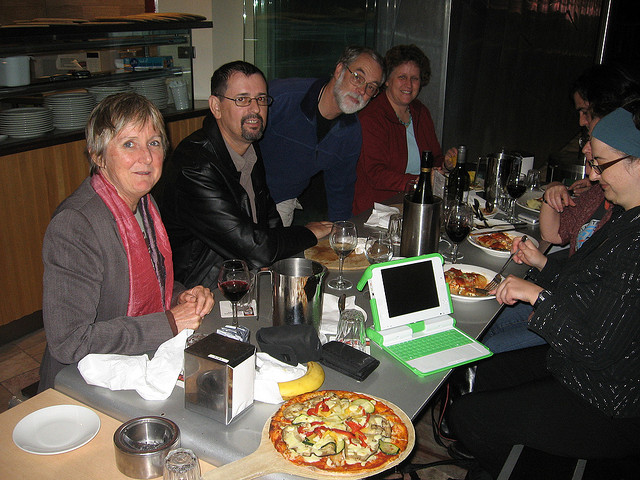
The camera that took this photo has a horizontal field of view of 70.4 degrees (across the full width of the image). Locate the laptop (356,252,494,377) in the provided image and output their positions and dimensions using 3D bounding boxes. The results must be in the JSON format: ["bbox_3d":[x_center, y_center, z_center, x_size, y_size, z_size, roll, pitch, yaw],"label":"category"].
[{"bbox_3d":[0.357,0.225,1.513,0.381,0.285,0.316,-7,17,-23],"label":"laptop"}]

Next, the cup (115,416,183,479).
[{"bbox_3d":[-0.429,0.502,1.118,0.139,0.064,0.139,6,15,-2],"label":"cup"}]

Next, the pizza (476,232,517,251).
[{"bbox_3d":[0.896,0.004,2.273,0.111,0.030,0.112,-8,21,-35],"label":"pizza"}]

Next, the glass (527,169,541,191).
[{"bbox_3d":[1.442,-0.397,3.053,0.092,0.133,0.319,7,17,24],"label":"glass"}]

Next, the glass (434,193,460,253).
[{"bbox_3d":[0.678,-0.111,2.401,0.133,0.392,0.184,6,23,11],"label":"glass"}]

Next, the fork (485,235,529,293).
[{"bbox_3d":[0.822,0.113,1.993,0.306,0.039,0.036,-45,41,-19],"label":"fork"}]

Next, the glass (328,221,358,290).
[{"bbox_3d":[0.087,0.071,1.910,0.108,0.252,0.104,-4,8,-42],"label":"glass"}]

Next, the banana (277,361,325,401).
[{"bbox_3d":[-0.048,0.410,1.305,0.070,0.053,0.155,14,21,41],"label":"banana"}]

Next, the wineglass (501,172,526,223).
[{"bbox_3d":[1.156,-0.252,2.681,0.133,0.296,0.122,2,10,-16],"label":"wineglass"}]

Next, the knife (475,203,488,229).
[{"bbox_3d":[0.920,-0.129,2.580,0.046,0.007,0.148,-29,48,23],"label":"knife"}]

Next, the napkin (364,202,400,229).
[{"bbox_3d":[0.339,-0.128,2.491,0.154,0.055,0.154,8,20,-13],"label":"napkin"}]

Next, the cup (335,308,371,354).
[{"bbox_3d":[0.106,0.295,1.508,0.125,0.137,0.124,4,3,0],"label":"cup"}]

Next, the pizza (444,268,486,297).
[{"bbox_3d":[0.595,0.177,1.864,0.147,0.050,0.126,12,26,21],"label":"pizza"}]

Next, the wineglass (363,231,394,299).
[{"bbox_3d":[0.254,0.103,1.904,0.099,0.227,0.097,5,18,16],"label":"wineglass"}]
